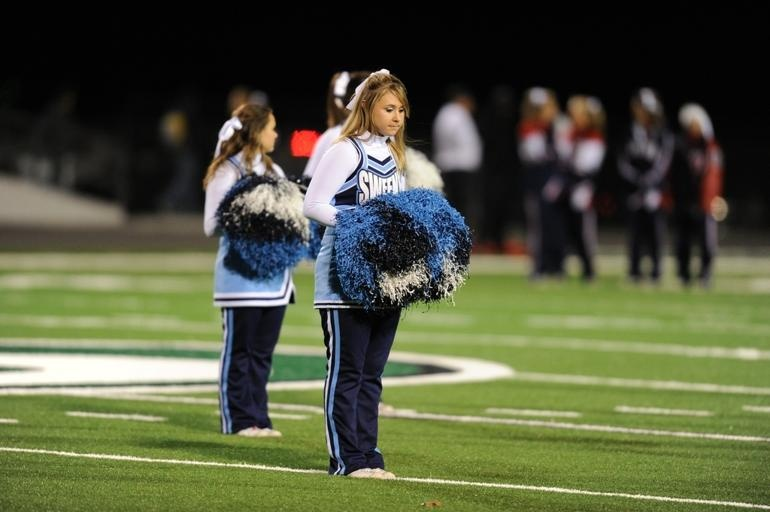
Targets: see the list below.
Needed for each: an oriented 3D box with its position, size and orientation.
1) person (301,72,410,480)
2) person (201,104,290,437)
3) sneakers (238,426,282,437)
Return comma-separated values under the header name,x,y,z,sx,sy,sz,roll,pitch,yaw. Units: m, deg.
name,x,y,z,sx,sy,sz,roll,pitch,yaw
person,-0.214,0.097,8.299,0.740,2.874,0.437,3,-4,-6
person,-1.069,0.086,9.307,0.750,2.615,0.321,4,-4,-9
sneakers,-0.966,1.333,9.211,0.306,0.123,0.114,-1,0,11
